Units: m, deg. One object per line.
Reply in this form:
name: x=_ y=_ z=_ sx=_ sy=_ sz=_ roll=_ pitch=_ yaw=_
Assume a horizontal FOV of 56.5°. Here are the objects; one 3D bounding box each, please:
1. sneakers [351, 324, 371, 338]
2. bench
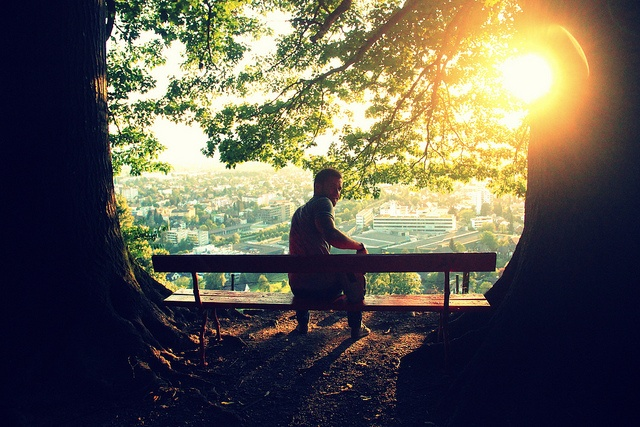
sneakers: x=0.452 y=1.304 z=6.632 sx=0.269 sy=0.114 sz=0.095 roll=-6 pitch=9 yaw=-38
bench: x=0.054 y=0.903 z=5.974 sx=3.297 sy=1.140 sz=0.614 roll=0 pitch=11 yaw=6
